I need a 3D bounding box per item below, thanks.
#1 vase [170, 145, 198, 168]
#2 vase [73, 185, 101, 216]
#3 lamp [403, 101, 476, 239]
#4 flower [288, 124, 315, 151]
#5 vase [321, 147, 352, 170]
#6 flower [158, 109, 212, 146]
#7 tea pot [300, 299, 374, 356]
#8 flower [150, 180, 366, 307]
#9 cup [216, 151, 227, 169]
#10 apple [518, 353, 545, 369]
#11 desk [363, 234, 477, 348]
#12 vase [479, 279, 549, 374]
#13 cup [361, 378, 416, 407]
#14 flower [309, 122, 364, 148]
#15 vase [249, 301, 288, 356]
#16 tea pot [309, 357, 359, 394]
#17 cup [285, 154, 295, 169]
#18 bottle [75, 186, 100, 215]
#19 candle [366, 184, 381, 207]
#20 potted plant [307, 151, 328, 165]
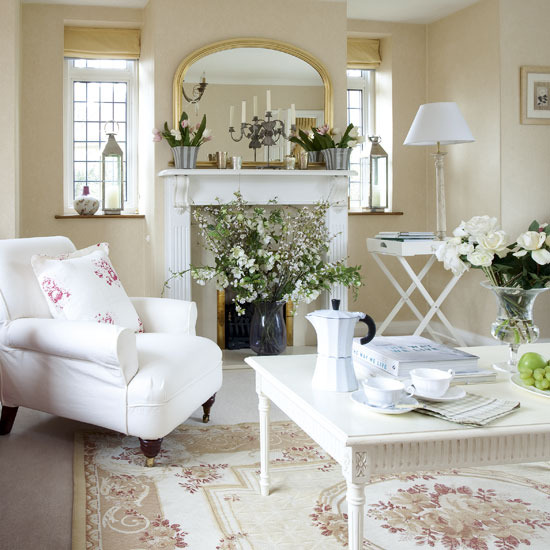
[{"bbox_3d":[-0.646,-0.817,3.938,0.150,0.124,0.170,2,5,6],"label":"vase"},{"bbox_3d":[-1.558,-0.611,4.592,0.230,0.308,0.233,0,10,-8],"label":"vase"},{"bbox_3d":[1.290,-0.762,4.244,0.487,1.051,0.484,-17,19,-33],"label":"lamp"},{"bbox_3d":[0.231,-1.046,4.305,0.191,0.118,0.195,7,12,10],"label":"flower"},{"bbox_3d":[0.480,-0.870,4.233,0.175,0.118,0.177,0,10,-4],"label":"vase"},{"bbox_3d":[-0.661,-1.030,4.018,0.371,0.246,0.346,-2,9,1],"label":"flower"},{"bbox_3d":[0.187,0.148,1.514,0.173,0.147,0.109,3,0,-4],"label":"tea pot"},{"bbox_3d":[-0.106,-0.253,4.129,1.350,1.294,0.425,-1,33,-6],"label":"flower"},{"bbox_3d":[-0.381,-0.848,4.134,0.094,0.126,0.071,-2,4,-25],"label":"cup"},{"bbox_3d":[0.727,0.242,1.560,0.052,0.042,0.039,20,-35,-25],"label":"apple"},{"bbox_3d":[1.166,0.131,4.585,0.890,1.166,0.809,1,1,-8],"label":"desk"},{"bbox_3d":[0.772,0.164,1.875,0.255,0.321,0.268,2,2,10],"label":"vase"},{"bbox_3d":[0.263,0.279,1.359,0.065,0.034,0.075,-1,6,-31],"label":"cup"},{"bbox_3d":[0.470,-1.054,4.257,0.359,0.208,0.396,0,4,0],"label":"flower"},{"bbox_3d":[-0.016,0.398,4.078,0.262,0.406,0.269,-1,-3,-7],"label":"vase"},{"bbox_3d":[0.158,0.258,1.504,0.095,0.067,0.098,1,0,0],"label":"tea pot"},{"bbox_3d":[0.121,-0.849,4.220,0.095,0.109,0.097,0,0,0],"label":"cup"},{"bbox_3d":[-1.560,-0.594,4.594,0.217,0.293,0.235,2,4,0],"label":"bottle"},{"bbox_3d":[0.908,-0.675,4.944,0.110,0.182,0.070,0,4,4],"label":"candle"},{"bbox_3d":[0.336,-0.904,4.308,0.113,0.088,0.101,-8,13,-33],"label":"potted plant"}]
